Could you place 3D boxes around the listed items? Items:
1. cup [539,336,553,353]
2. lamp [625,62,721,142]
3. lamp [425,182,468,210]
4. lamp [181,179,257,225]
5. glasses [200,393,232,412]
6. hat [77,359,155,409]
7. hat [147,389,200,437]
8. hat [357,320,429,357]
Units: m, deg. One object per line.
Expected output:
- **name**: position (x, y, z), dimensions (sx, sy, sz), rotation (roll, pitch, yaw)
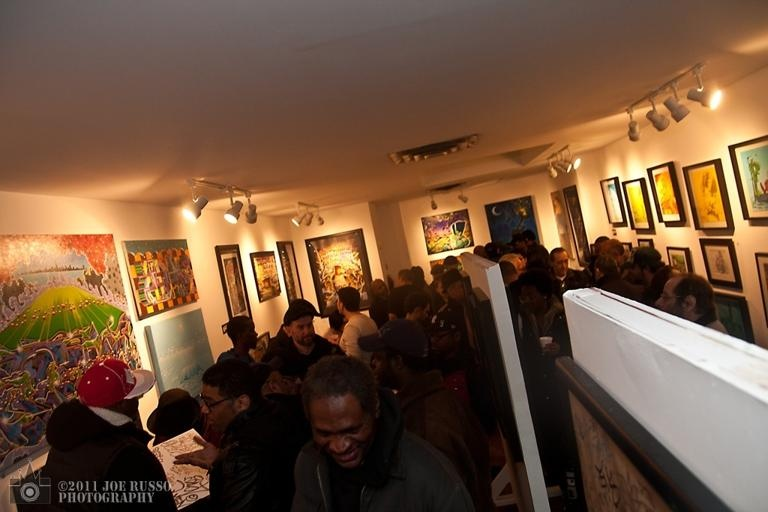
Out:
- **cup**: position (1.239, 0.678, 3.350), dimensions (0.107, 0.081, 0.087), rotation (-9, -6, 40)
- **lamp**: position (3.110, -1.636, 4.769), dimensions (0.224, 0.554, 0.981), rotation (-17, 4, -20)
- **lamp**: position (1.782, -1.762, 11.884), dimensions (1.061, 0.485, 2.662), rotation (-13, -7, 10)
- **lamp**: position (-1.835, -0.616, 4.946), dimensions (0.793, 0.371, 0.195), rotation (7, -2, -8)
- **glasses**: position (-0.960, 0.822, 2.461), dimensions (0.187, 0.054, 0.176), rotation (4, -6, -35)
- **hat**: position (-1.674, 0.790, 2.802), dimensions (0.290, 0.230, 0.442), rotation (16, 18, 31)
- **hat**: position (-1.758, 1.246, 3.687), dimensions (0.495, 0.186, 0.421), rotation (-11, 17, -32)
- **hat**: position (0.075, 0.481, 2.654), dimensions (0.335, 0.160, 0.218), rotation (1, -4, 10)
